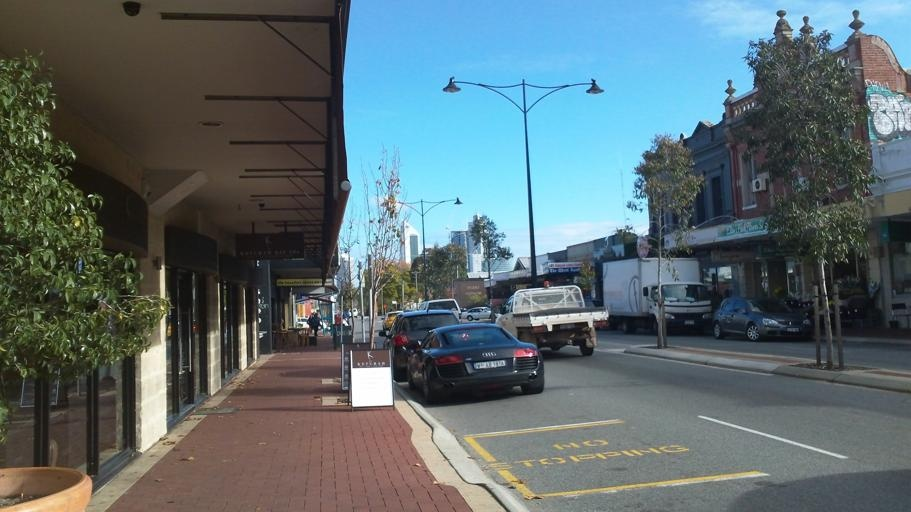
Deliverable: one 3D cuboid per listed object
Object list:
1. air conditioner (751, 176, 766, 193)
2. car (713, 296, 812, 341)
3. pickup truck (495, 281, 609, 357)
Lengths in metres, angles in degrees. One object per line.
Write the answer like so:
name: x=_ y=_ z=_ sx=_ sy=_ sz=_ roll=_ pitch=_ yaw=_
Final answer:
air conditioner: x=15.373 y=-3.616 z=39.572 sx=0.299 sy=0.797 sz=0.919 roll=2 pitch=-5 yaw=-16
car: x=11.780 y=2.385 z=30.283 sx=1.973 sy=1.831 sz=3.567 roll=0 pitch=-10 yaw=-25
pickup truck: x=3.288 y=2.301 z=27.910 sx=2.735 sy=2.100 sz=5.391 roll=-4 pitch=-1 yaw=-7
